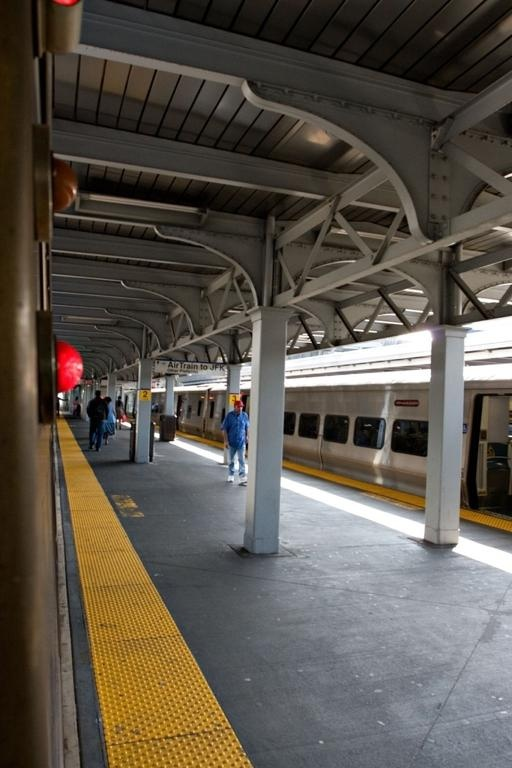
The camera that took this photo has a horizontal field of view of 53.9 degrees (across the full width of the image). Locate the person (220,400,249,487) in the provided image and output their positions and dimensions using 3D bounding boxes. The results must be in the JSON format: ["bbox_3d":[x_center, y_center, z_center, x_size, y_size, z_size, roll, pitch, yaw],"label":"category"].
[{"bbox_3d":[-0.583,1.532,13.529,0.651,2.202,1.248,2,-2,-2],"label":"person"}]

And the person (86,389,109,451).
[{"bbox_3d":[-6.237,1.391,19.618,0.695,1.594,2.079,3,-2,-17],"label":"person"}]

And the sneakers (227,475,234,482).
[{"bbox_3d":[-0.699,2.539,13.578,0.121,0.157,0.349,1,-11,-7],"label":"sneakers"}]

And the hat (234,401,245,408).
[{"bbox_3d":[-0.464,0.518,13.116,0.261,0.232,0.456,3,-4,-1],"label":"hat"}]

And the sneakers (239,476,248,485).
[{"bbox_3d":[-0.370,2.585,13.437,0.130,0.282,0.415,3,-13,-21],"label":"sneakers"}]
